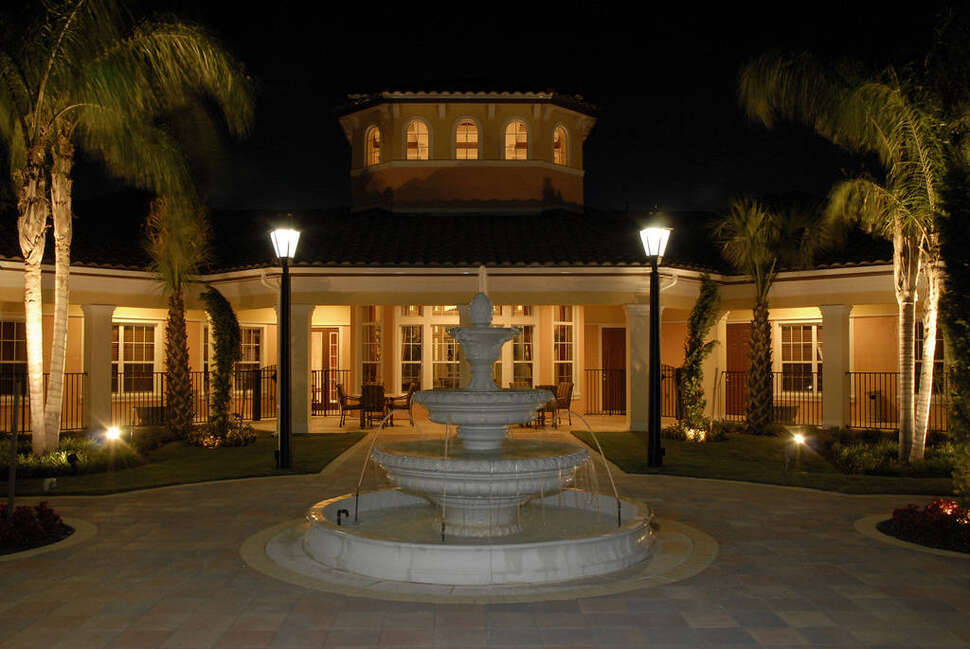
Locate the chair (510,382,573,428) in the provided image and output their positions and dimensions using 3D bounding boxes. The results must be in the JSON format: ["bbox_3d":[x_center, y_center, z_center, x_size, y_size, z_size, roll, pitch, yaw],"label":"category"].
[{"bbox_3d":[1.818,2.448,22.495,1.261,1.301,2.169,0,3,-3],"label":"chair"}]
